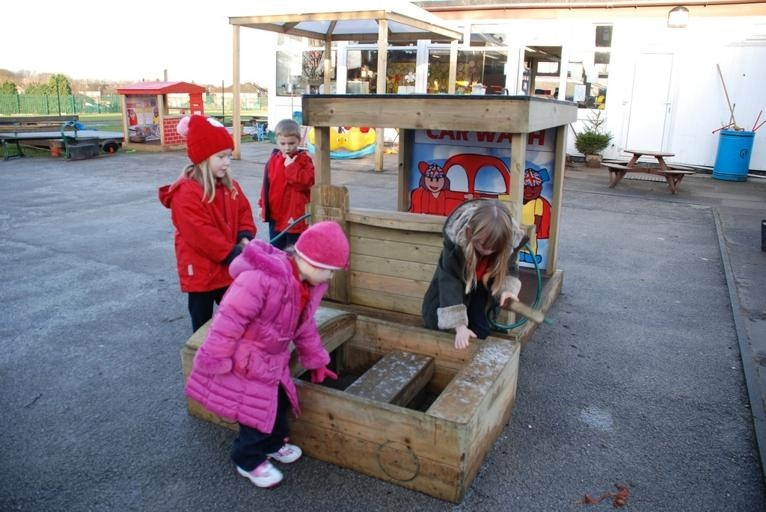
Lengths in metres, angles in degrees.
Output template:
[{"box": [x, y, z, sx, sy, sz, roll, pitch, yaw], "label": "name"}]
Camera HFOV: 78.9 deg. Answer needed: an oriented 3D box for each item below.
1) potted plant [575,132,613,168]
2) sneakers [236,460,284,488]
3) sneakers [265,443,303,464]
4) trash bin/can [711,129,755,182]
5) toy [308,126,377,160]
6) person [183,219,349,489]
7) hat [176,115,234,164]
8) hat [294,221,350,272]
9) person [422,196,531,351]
[{"box": [6.687, -3.346, 14.662, 1.055, 1.113, 1.037, -2, 10, 7], "label": "potted plant"}, {"box": [-0.737, 1.284, 2.810, 0.257, 0.118, 0.127, 4, 14, 16], "label": "sneakers"}, {"box": [-0.599, 1.231, 2.894, 0.231, 0.101, 0.099, -4, 38, -4], "label": "sneakers"}, {"box": [9.760, -2.767, 12.932, 0.876, 1.302, 0.842, -15, 21, -32], "label": "trash bin/can"}, {"box": [-0.968, -3.604, 15.112, 1.494, 0.942, 0.587, -7, 18, -25], "label": "toy"}, {"box": [-0.652, 0.579, 2.734, 0.866, 1.522, 0.360, -10, 20, -33], "label": "person"}, {"box": [-1.297, -0.850, 3.415, 0.392, 0.343, 0.295, -8, 21, -2], "label": "hat"}, {"box": [-0.344, -0.070, 2.678, 0.305, 0.240, 0.226, 2, 29, -5], "label": "hat"}, {"box": [0.701, 0.136, 3.358, 0.640, 1.119, 0.598, -4, 17, -17], "label": "person"}]
